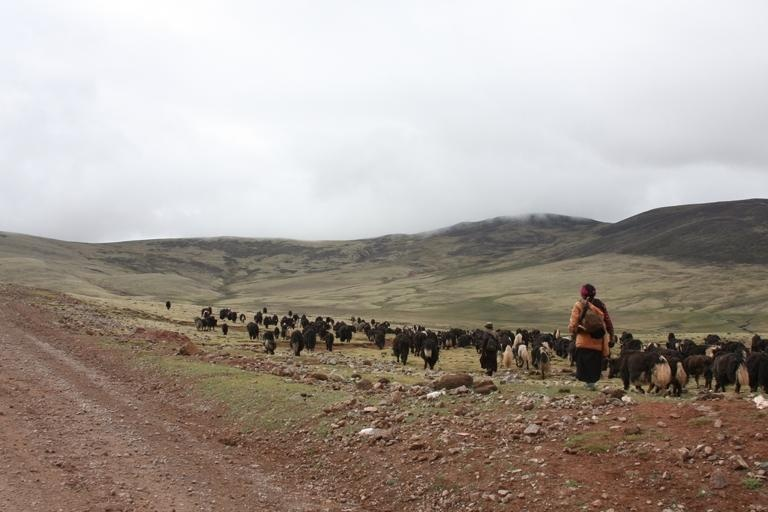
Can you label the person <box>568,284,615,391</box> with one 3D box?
[{"bbox_3d":[6.342,2.425,16.549,0.932,3.205,1.296,-3,-1,37],"label":"person"}]
